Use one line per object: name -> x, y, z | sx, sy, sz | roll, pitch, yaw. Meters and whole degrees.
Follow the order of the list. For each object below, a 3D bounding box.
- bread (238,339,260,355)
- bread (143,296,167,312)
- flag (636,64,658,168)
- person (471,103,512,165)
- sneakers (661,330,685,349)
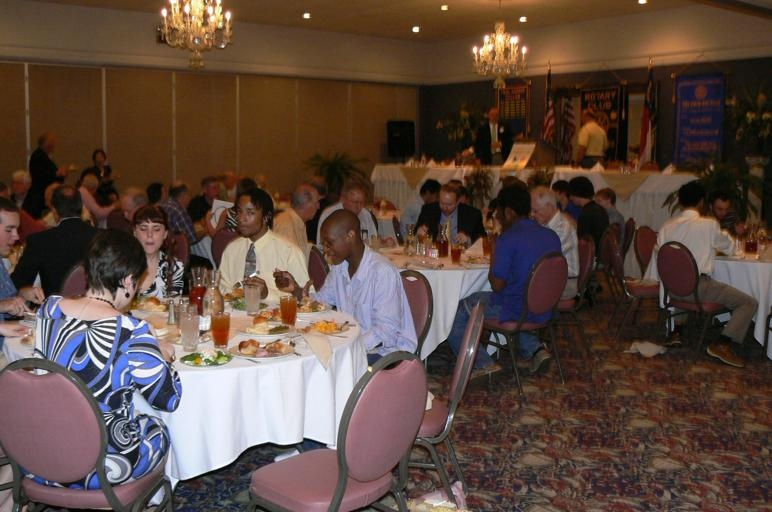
bread -> -0.747, 0.475, 3.323 | 0.074, 0.035, 0.080 | 2, 15, -5
bread -> -1.464, 0.303, 3.861 | 0.090, 0.041, 0.107 | 4, 0, 14
flag -> 5.114, -2.775, 11.816 | 0.320, 1.772, 0.478 | 6, 14, 22
person -> 2.206, -2.134, 12.597 | 0.737, 1.768, 0.561 | -8, 28, -2
sneakers -> 3.011, 0.856, 6.398 | 0.136, 0.184, 0.421 | -3, -9, 33
